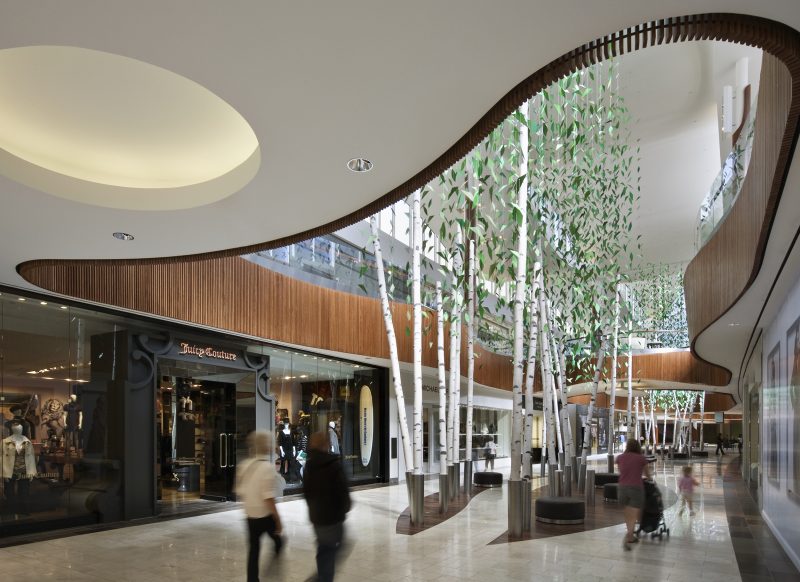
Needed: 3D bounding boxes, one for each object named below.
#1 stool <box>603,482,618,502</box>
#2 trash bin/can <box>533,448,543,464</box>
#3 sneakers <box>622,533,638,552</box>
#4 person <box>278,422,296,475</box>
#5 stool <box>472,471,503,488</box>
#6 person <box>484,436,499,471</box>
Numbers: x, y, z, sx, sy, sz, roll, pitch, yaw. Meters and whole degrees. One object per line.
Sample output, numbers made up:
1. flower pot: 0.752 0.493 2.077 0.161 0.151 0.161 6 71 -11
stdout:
1. stool: 5.091 4.878 14.805 0.289 0.447 1.186 -3 -17 14
2. trash bin/can: 7.760 9.254 34.727 0.486 0.822 2.561 -2 -17 10
3. sneakers: 3.847 4.191 10.260 0.173 0.263 0.540 -1 -3 31
4. person: -2.934 4.209 16.157 0.394 1.476 0.302 -3 13 -10
5. stool: 2.734 5.921 19.245 0.797 0.401 0.502 -2 -16 10
6. person: 4.379 7.811 29.733 0.374 1.552 2.135 -3 -16 15
